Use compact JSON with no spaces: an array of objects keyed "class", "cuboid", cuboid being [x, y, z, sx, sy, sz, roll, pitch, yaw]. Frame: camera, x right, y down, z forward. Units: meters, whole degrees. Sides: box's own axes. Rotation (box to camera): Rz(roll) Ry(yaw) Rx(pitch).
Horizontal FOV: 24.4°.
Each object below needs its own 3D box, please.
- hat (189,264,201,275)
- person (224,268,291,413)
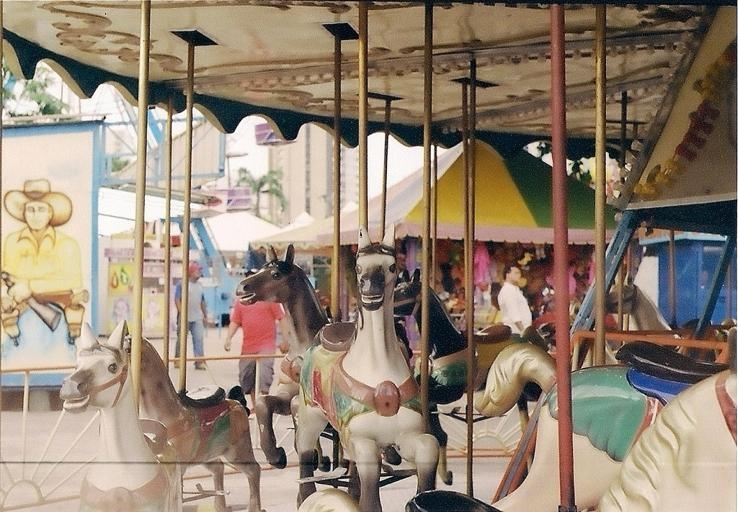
[{"class":"hat","cuboid":[-1.665,0.095,16.278,0.092,0.091,0.097,8,-13,-3]},{"class":"person","cuboid":[-1.064,0.920,16.053,0.574,1.179,0.870,0,8,-5]}]
